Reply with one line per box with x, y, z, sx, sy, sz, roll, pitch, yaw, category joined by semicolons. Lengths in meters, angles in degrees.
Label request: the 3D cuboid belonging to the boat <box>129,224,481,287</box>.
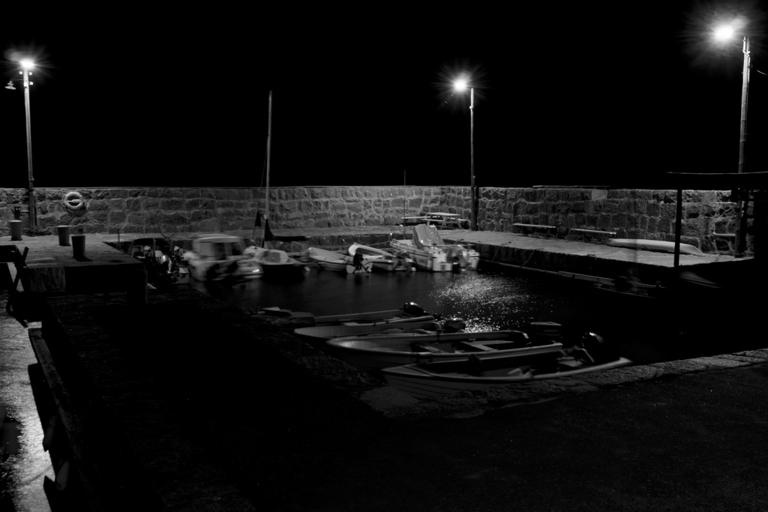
-2.232;-0.103;17.355;9.416;1.421;3.006;-5;12;-15;boat

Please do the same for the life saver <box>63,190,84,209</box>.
-9.367;-1.675;17.483;0.523;0.501;0.186;-9;6;-27;life saver
